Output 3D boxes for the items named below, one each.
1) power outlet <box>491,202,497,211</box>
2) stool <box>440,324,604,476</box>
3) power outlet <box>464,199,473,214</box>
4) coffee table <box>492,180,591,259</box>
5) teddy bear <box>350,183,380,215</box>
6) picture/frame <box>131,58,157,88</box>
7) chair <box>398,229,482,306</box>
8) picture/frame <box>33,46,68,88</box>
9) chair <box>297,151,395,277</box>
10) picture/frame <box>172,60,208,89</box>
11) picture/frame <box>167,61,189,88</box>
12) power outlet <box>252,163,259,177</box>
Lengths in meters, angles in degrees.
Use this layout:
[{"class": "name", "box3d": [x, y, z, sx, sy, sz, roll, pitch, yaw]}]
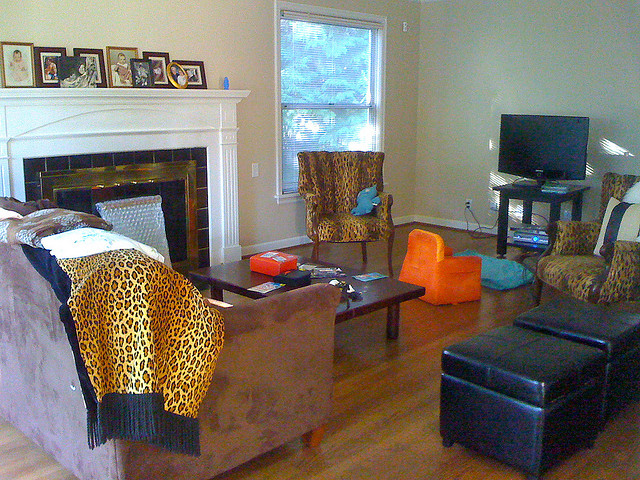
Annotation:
[{"class": "power outlet", "box3d": [2.169, -0.422, 6.708, 0.079, 0.078, 0.019, 6, 0, 34]}, {"class": "stool", "box3d": [0.982, 0.671, 2.742, 0.681, 0.528, 0.631, -10, 13, -40]}, {"class": "power outlet", "box3d": [1.923, -0.451, 6.958, 0.021, 0.166, 0.107, -15, 19, -39]}, {"class": "coffee table", "box3d": [2.424, -0.347, 6.005, 0.932, 0.875, 0.896, -9, 12, -41]}, {"class": "teddy bear", "box3d": [0.476, -0.418, 5.573, 0.300, 0.275, 0.313, -2, 15, 2]}, {"class": "picture/frame", "box3d": [-1.532, -1.459, 4.661, 0.284, 0.307, 0.037, -12, 15, -42]}, {"class": "chair", "box3d": [1.042, 0.208, 4.808, 0.644, 0.726, 0.744, -9, 16, -26]}, {"class": "picture/frame", "box3d": [-2.112, -1.373, 4.240, 0.253, 0.303, 0.099, -10, 17, -27]}, {"class": "chair", "box3d": [0.263, -0.298, 5.504, 0.922, 1.189, 0.859, -1, 13, -10]}, {"class": "picture/frame", "box3d": [-1.207, -1.540, 4.956, 0.025, 0.266, 0.325, 3, 12, 43]}, {"class": "picture/frame", "box3d": [-1.289, -1.505, 4.864, 0.022, 0.213, 0.217, -12, 19, 37]}, {"class": "power outlet", "box3d": [-0.676, -0.748, 5.716, 0.017, 0.156, 0.093, 8, 18, 34]}]
